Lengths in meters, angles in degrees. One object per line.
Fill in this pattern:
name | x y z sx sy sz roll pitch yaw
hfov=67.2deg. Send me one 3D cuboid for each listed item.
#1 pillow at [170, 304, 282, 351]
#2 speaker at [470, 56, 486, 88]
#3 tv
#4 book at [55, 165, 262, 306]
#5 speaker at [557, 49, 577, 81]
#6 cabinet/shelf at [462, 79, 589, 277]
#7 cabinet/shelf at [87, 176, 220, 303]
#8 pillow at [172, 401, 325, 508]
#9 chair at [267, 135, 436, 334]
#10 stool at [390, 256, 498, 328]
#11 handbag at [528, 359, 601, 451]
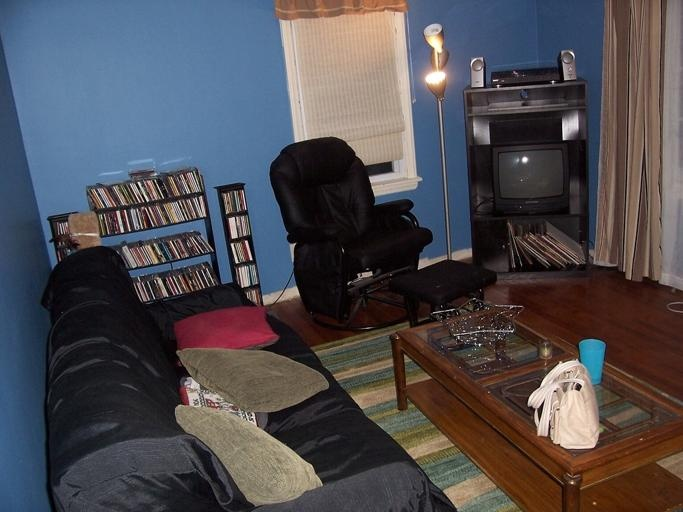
pillow | -0.622 0.384 2.781 0.332 0.082 0.309 -3 19 -9
speaker | 1.177 -1.587 4.491 0.135 0.252 0.124 -7 17 14
tv | 1.617 -0.674 4.593 0.703 0.735 0.547 0 13 20
book | -1.346 -0.149 3.678 0.928 0.870 0.147 -18 15 -25
speaker | 1.900 -1.595 4.346 0.120 0.245 0.129 -6 17 16
cabinet/shelf | 1.590 -0.584 4.794 0.937 1.482 0.549 -1 -13 5
cabinet/shelf | -1.358 -0.121 3.662 0.701 0.825 0.256 -21 23 -20
pillow | -0.302 0.630 1.671 0.320 0.095 0.291 39 15 21
chair | 0.227 -0.341 4.659 1.453 1.905 1.475 -21 25 -41
stool | 0.688 0.149 3.468 0.600 0.506 0.478 -20 29 -24
handbag | 0.848 0.538 2.086 0.261 0.409 0.430 -2 21 15
